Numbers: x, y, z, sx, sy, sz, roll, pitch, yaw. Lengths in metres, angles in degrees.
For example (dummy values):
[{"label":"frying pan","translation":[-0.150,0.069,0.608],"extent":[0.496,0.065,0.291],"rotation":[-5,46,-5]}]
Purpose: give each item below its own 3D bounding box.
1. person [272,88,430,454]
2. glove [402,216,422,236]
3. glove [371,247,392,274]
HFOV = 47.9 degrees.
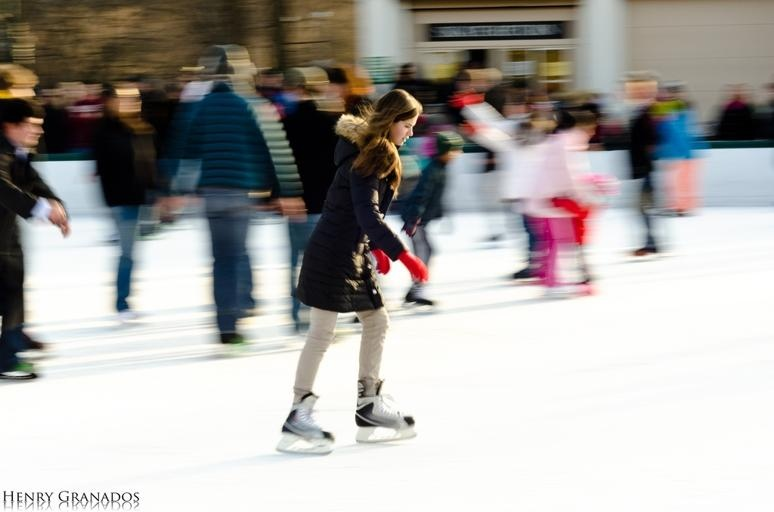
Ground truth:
[{"label":"person","translation":[-0.238,0.101,5.660],"extent":[0.958,2.320,0.570],"rotation":[-1,13,1]},{"label":"glove","translation":[0.228,-0.299,8.513],"extent":[0.167,0.196,0.056],"rotation":[35,-12,-10]},{"label":"glove","translation":[-0.049,0.042,5.765],"extent":[0.123,0.157,0.049],"rotation":[-12,2,-27]}]
